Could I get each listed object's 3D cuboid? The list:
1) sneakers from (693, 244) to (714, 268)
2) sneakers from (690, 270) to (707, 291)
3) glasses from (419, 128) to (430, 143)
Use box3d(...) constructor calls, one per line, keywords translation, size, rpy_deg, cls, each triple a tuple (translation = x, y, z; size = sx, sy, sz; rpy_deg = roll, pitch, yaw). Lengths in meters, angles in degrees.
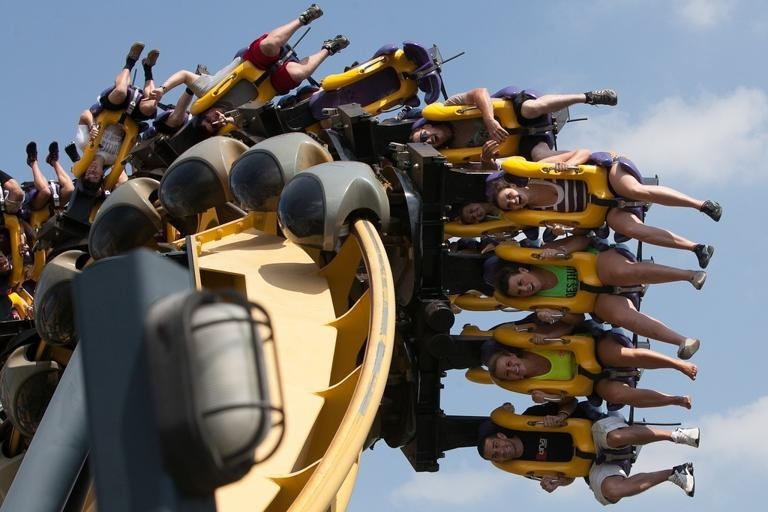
box3d(translation=(5.302, -0.027, 19.419), size=(0.252, 0.328, 0.224), rpy_deg=(-28, -39, 37), cls="sneakers")
box3d(translation=(4.499, 0.327, 16.778), size=(0.145, 0.120, 0.333), rpy_deg=(5, -49, -12), cls="sneakers")
box3d(translation=(0.784, -2.272, 22.261), size=(0.185, 0.262, 0.089), rpy_deg=(1, -5, -15), cls="glasses")
